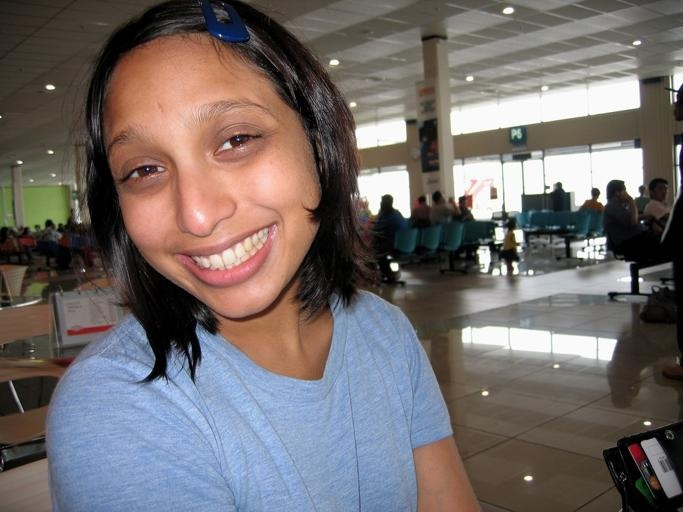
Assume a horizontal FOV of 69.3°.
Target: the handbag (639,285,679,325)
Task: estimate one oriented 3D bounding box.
[{"bbox_3d":[3.432,0.485,5.409,0.435,0.192,0.586,-2,4,22],"label":"handbag"}]
